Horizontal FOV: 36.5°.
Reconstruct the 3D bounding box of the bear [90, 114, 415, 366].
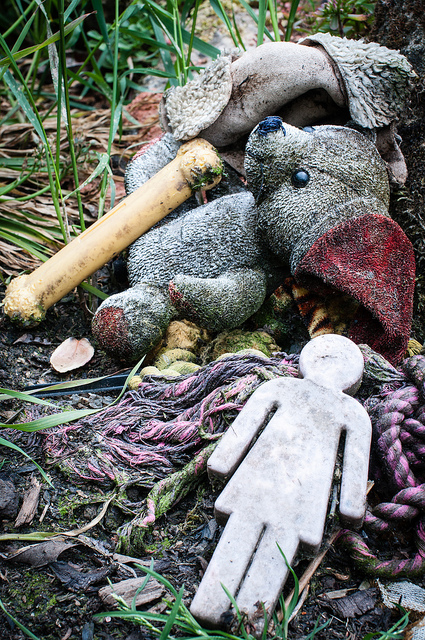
[{"bbox_3d":[0.116,-0.273,1.870,0.920,0.572,0.704,5,56,8],"label":"bear"}]
